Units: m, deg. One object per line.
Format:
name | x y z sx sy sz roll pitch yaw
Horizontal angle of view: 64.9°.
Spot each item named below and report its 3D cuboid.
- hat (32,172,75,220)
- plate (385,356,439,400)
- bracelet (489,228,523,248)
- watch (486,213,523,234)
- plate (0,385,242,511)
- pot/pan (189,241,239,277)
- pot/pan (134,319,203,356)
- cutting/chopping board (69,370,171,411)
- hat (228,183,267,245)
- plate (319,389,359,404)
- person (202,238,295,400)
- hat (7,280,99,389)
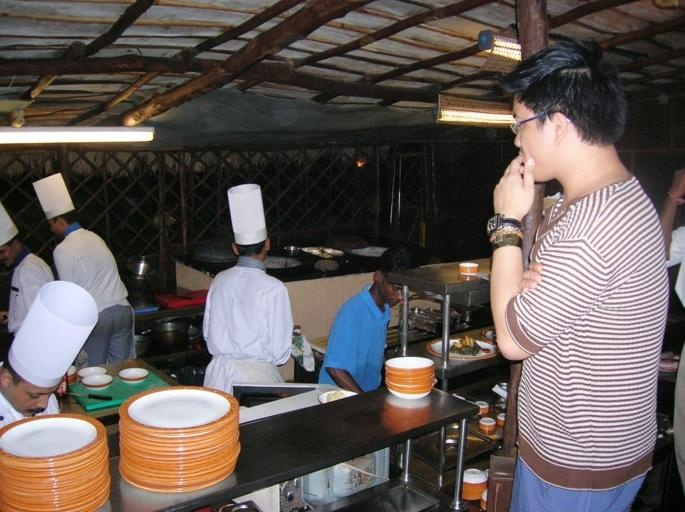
hat | -2.583 -0.523 4.767 0.298 0.405 0.207 -1 4 9
plate | 0.246 0.408 1.861 0.163 0.074 0.136 -9 15 -25
bracelet | 0.484 -0.053 1.566 0.070 0.033 0.061 -2 7 -10
watch | 0.488 -0.095 1.616 0.086 0.038 0.070 1 4 -7
plate | -0.543 0.475 1.360 0.474 0.099 0.273 -1 10 -20
pot/pan | -1.503 0.031 6.301 0.518 0.218 0.445 -1 16 -13
pot/pan | -1.749 0.805 5.411 0.650 0.313 0.310 -2 4 -17
cutting/chopping board | -1.277 0.761 3.077 0.402 0.035 0.421 -7 14 -37
hat | -0.608 -0.260 3.419 0.229 0.388 0.215 -2 4 -11
plate | -0.039 0.541 2.097 0.108 0.021 0.106 0 2 34
person | -0.599 0.358 3.338 0.532 0.901 0.300 -2 4 -13
hat | -0.896 0.244 1.639 0.291 0.342 0.125 0 4 21
